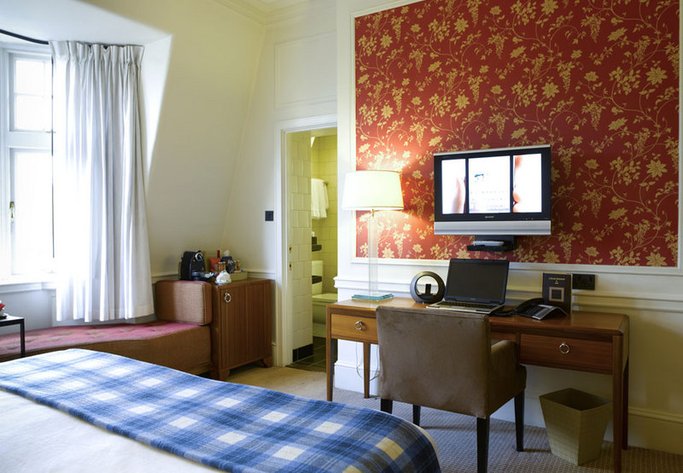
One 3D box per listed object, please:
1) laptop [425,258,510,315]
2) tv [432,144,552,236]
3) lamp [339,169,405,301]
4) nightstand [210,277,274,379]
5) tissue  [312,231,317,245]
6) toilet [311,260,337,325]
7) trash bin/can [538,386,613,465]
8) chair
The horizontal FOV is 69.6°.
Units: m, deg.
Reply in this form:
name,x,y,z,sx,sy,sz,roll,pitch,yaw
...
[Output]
name,x,y,z,sx,sy,sz,roll,pitch,yaw
laptop,0.938,0.370,3.649,0.513,0.343,0.455,-1,2,35
tv,1.148,-0.318,3.802,0.933,0.684,0.098,-2,7,-1
lamp,0.271,-0.014,4.139,0.519,1.069,0.390,1,3,6
nightstand,-1.139,0.922,5.006,0.570,0.902,0.838,-1,-1,36
tissue ,-0.362,0.021,6.843,0.060,0.182,0.118,1,3,12
toilet,-0.243,0.776,6.157,0.403,0.495,0.335,6,11,43
trash bin/can,1.627,1.284,3.493,0.430,0.501,0.520,0,-8,15
chair,0.705,0.817,3.569,1.064,1.305,1.013,2,5,34
